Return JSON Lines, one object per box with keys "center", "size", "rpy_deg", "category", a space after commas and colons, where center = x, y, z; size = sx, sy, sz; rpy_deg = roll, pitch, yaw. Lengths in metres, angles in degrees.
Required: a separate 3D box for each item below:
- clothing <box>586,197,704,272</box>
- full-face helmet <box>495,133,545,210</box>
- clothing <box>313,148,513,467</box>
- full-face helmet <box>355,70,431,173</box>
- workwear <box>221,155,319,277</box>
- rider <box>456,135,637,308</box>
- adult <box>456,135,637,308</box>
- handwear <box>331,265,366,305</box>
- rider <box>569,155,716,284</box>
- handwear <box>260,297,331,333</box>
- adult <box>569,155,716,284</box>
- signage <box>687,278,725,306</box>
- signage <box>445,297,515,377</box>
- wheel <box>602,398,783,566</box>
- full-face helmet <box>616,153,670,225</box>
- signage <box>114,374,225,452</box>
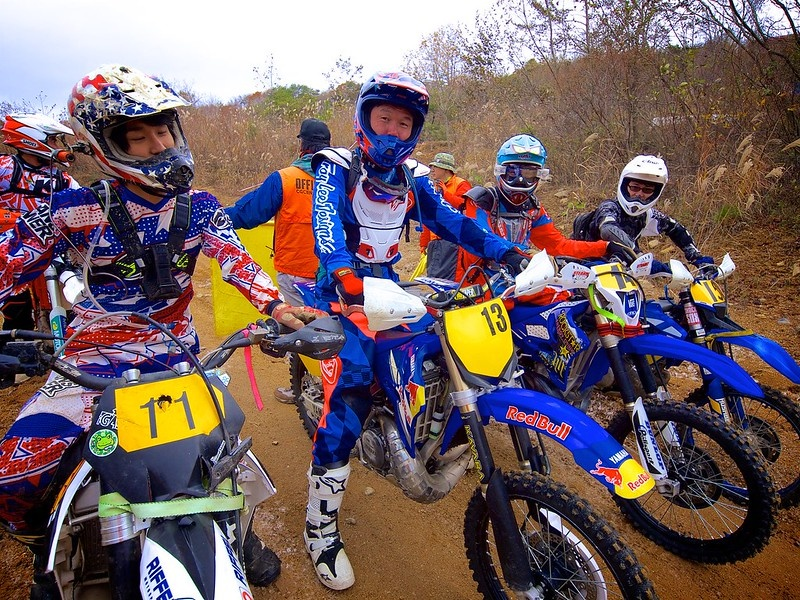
{"center": [2.377, -0.622, 5.834], "size": [1.047, 0.573, 0.757], "rpy_deg": [8, 7, 39], "category": "clothing"}
{"center": [1.024, -1.146, 5.381], "size": [0.426, 0.591, 0.585], "rpy_deg": [4, 30, 5], "category": "full-face helmet"}
{"center": [-0.306, -0.184, 5.101], "size": [1.208, 1.569, 2.238], "rpy_deg": [4, 3, -24], "category": "clothing"}
{"center": [-0.083, -1.228, 4.348], "size": [0.482, 0.688, 0.687], "rpy_deg": [5, 6, -8], "category": "full-face helmet"}
{"center": [-1.006, -0.822, 5.992], "size": [1.416, 1.082, 0.476], "rpy_deg": [4, 20, -18], "category": "workwear"}
{"center": [1.092, -0.518, 5.451], "size": [1.103, 2.007, 1.299], "rpy_deg": [-3, 10, -18], "category": "rider"}
{"center": [1.054, -0.542, 5.361], "size": [1.071, 1.935, 1.335], "rpy_deg": [0, 5, -24], "category": "adult"}
{"center": [-0.322, -0.075, 3.833], "size": [0.150, 0.268, 0.110], "rpy_deg": [-27, -11, -19], "category": "handwear"}
{"center": [2.282, -0.867, 5.836], "size": [0.959, 1.081, 1.669], "rpy_deg": [1, 12, -9], "category": "rider"}
{"center": [-0.629, 0.087, 3.605], "size": [0.229, 0.085, 0.189], "rpy_deg": [17, 28, 17], "category": "handwear"}
{"center": [2.256, -0.873, 5.842], "size": [0.956, 1.072, 1.632], "rpy_deg": [1, 11, -15], "category": "adult"}
{"center": [2.562, -0.059, 5.059], "size": [0.197, 0.120, 0.302], "rpy_deg": [0, 36, 5], "category": "signage"}
{"center": [0.522, 0.263, 3.693], "size": [0.482, 0.503, 0.052], "rpy_deg": [-14, -10, -17], "category": "signage"}
{"center": [2.158, 1.369, 4.649], "size": [0.288, 1.360, 1.222], "rpy_deg": [-21, 27, -33], "category": "wheel"}
{"center": [2.322, -1.006, 5.625], "size": [0.578, 0.600, 0.398], "rpy_deg": [11, 10, -46], "category": "full-face helmet"}
{"center": [-1.234, 0.629, 3.142], "size": [0.435, 0.154, 0.616], "rpy_deg": [-5, 24, -20], "category": "signage"}
